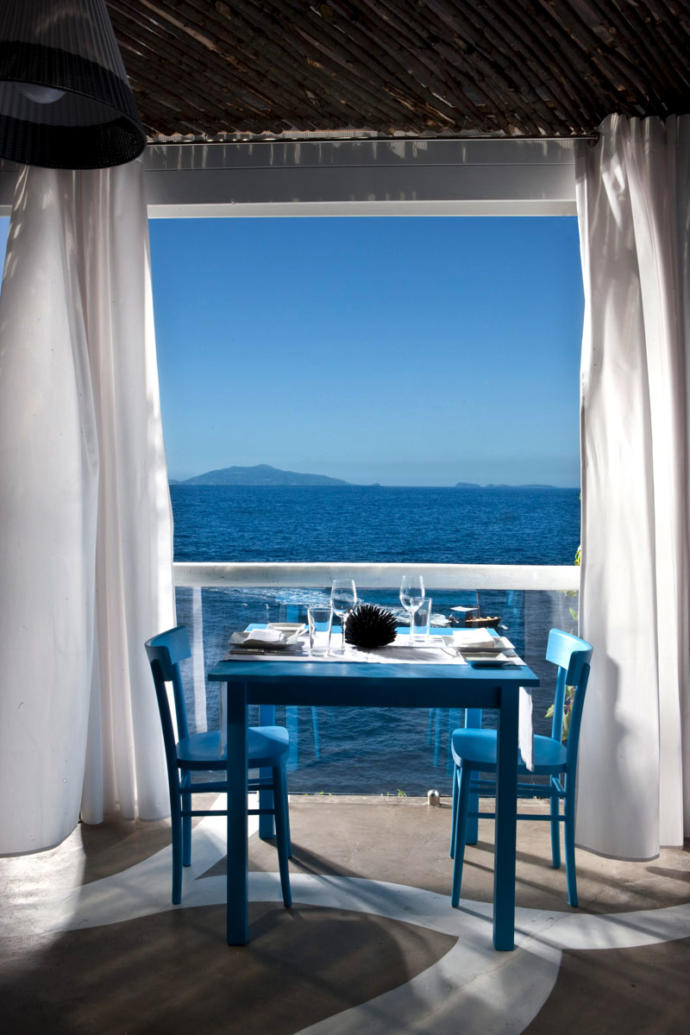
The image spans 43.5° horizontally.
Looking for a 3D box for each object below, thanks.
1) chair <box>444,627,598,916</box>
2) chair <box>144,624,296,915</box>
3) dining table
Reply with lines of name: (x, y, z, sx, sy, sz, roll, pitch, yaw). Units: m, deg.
chair: (0.462, 0.653, 2.295, 0.317, 0.674, 0.363, 3, 0, 11)
chair: (-0.315, 0.647, 2.244, 0.319, 0.665, 0.344, -1, -1, -13)
dining table: (0.091, 0.560, 1.922, 0.572, 0.581, 0.632, 0, -7, 2)
